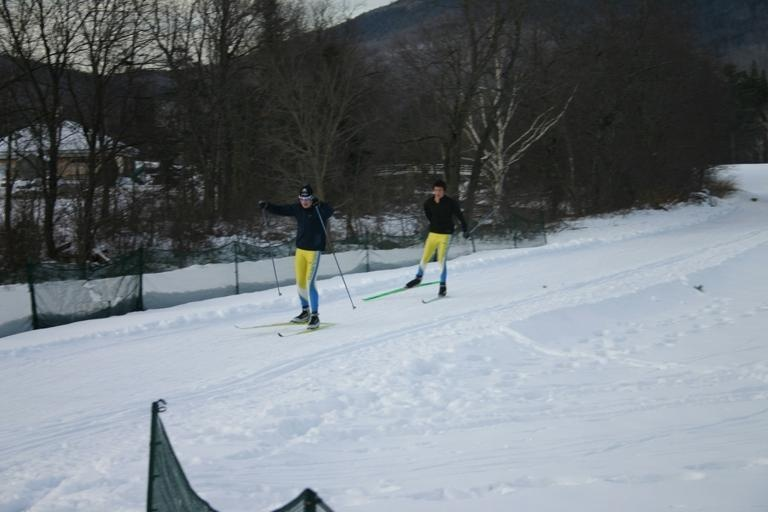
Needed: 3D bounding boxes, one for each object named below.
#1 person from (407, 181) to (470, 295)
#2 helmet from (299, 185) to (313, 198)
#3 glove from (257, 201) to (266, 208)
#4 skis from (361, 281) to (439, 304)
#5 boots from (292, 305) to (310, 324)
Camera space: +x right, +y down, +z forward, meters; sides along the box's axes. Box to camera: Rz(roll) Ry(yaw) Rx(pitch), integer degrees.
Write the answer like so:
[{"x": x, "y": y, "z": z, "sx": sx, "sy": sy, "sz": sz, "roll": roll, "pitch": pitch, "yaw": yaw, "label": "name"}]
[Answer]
[{"x": 1.588, "y": -0.481, "z": 23.191, "sx": 1.555, "sy": 3.241, "sz": 0.964, "roll": -2, "pitch": 7, "yaw": 37, "label": "person"}, {"x": -2.019, "y": -1.636, "z": 20.979, "sx": 0.308, "sy": 0.221, "sz": 0.384, "roll": 3, "pitch": 4, "yaw": 11, "label": "helmet"}, {"x": -3.147, "y": -1.295, "z": 20.716, "sx": 0.294, "sy": 0.233, "sz": 0.087, "roll": 2, "pitch": 5, "yaw": -28, "label": "glove"}, {"x": 0.452, "y": 1.098, "z": 23.964, "sx": 2.121, "sy": 0.190, "sz": 0.200, "roll": -11, "pitch": 44, "yaw": -2, "label": "skis"}, {"x": -2.187, "y": 1.619, "z": 21.527, "sx": 0.716, "sy": 0.385, "sz": 0.243, "roll": 1, "pitch": -1, "yaw": -6, "label": "boots"}]
